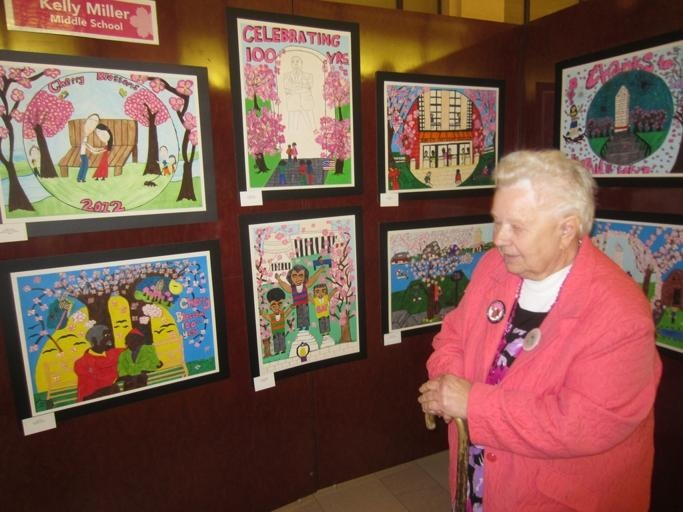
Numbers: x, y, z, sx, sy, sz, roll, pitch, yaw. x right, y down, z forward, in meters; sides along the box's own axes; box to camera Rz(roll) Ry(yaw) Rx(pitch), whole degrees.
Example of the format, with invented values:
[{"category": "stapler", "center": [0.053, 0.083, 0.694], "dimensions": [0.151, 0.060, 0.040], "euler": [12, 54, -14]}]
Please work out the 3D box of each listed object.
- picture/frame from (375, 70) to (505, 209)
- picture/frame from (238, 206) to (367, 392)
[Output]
[{"category": "picture/frame", "center": [0.596, -0.764, 3.462], "dimensions": [0.931, 0.764, 0.022], "euler": [-4, 9, -23]}, {"category": "picture/frame", "center": [-0.260, 0.222, 3.286], "dimensions": [0.980, 1.327, 0.045], "euler": [-8, 14, -25]}]
